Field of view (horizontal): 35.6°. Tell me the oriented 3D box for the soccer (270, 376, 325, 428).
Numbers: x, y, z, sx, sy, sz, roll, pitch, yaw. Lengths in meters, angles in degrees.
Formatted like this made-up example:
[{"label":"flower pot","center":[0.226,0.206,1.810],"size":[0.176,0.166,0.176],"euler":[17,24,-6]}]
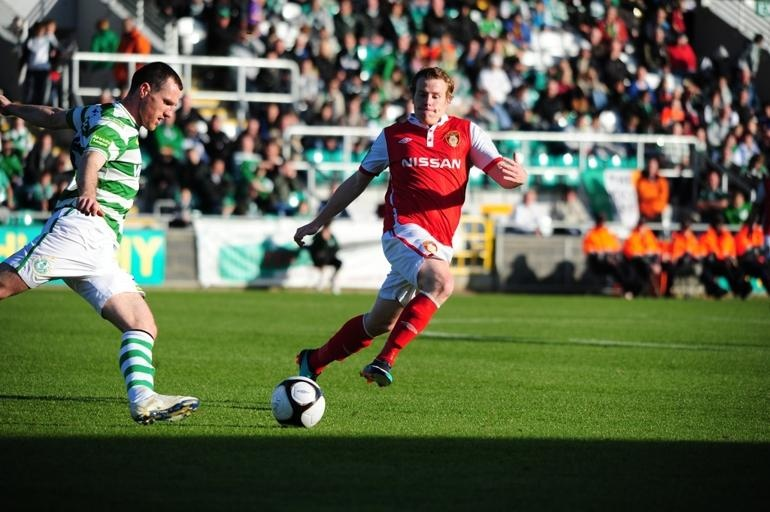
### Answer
[{"label":"soccer","center":[-0.922,1.530,12.661],"size":[0.548,0.438,0.323],"euler":[3,13,10]}]
